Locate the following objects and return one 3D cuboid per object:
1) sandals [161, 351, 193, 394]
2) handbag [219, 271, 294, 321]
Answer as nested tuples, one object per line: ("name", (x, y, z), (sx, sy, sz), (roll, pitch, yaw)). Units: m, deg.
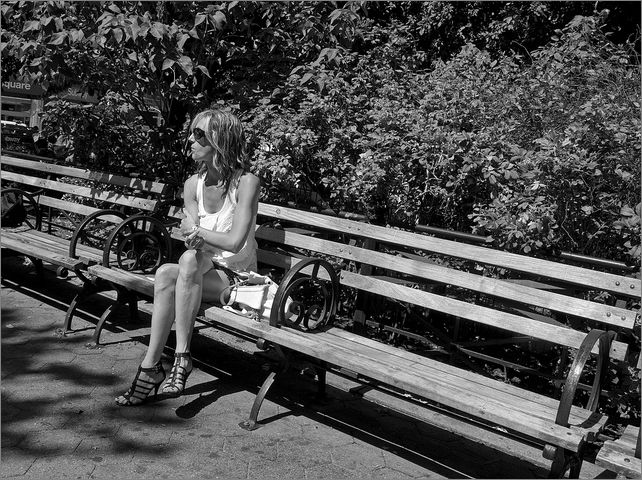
("sandals", (-1.009, 0.943, 3.900), (0.184, 0.324, 0.168), (4, 12, -16))
("handbag", (-0.494, 0.489, 4.406), (0.590, 0.265, 0.460), (11, -18, 9))
